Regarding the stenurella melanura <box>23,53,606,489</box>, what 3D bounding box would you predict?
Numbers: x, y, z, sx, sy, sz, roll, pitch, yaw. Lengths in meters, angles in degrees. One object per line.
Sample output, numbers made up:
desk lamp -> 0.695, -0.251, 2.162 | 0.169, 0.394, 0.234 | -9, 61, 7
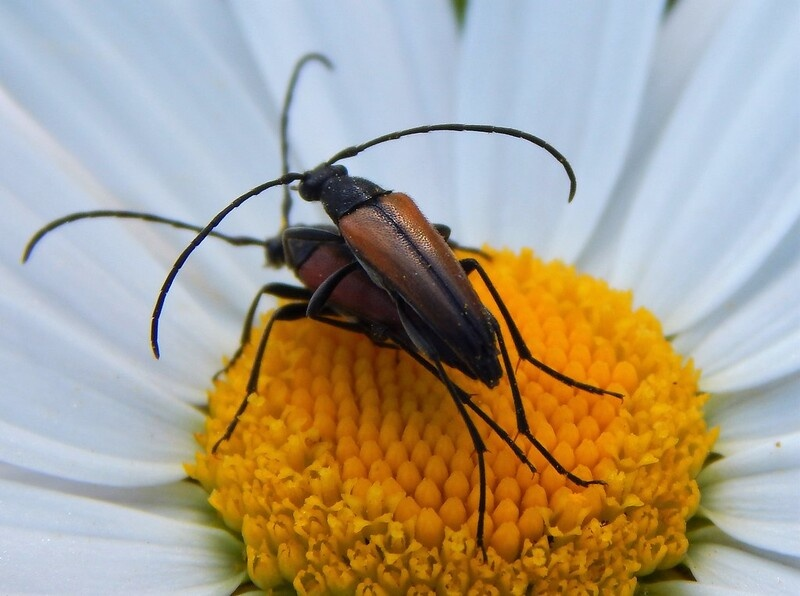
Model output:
stenurella melanura -> -0.213, -0.171, 3.069 | 1.382, 0.531, 1.589 | -22, 38, -36

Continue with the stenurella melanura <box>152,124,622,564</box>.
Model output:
stenurella melanura -> -0.093, -0.115, 2.985 | 1.591, 0.532, 1.417 | -22, 50, -35
